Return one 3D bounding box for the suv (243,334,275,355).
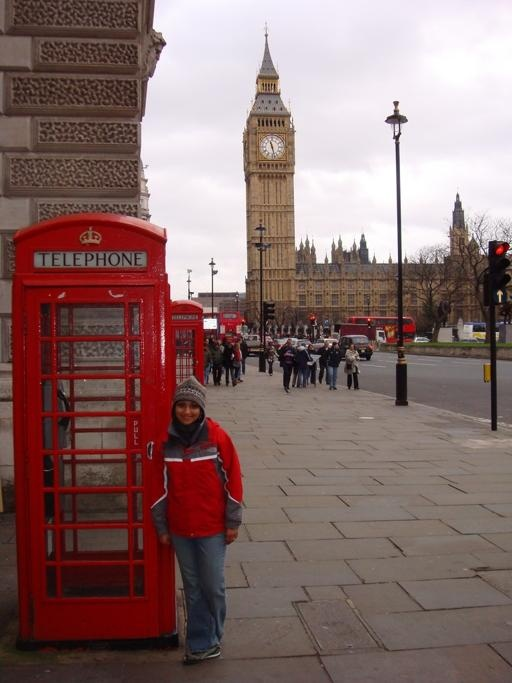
[{"bbox_3d":[0.056,0.159,43.116,1.078,0.903,2.265,0,7,1],"label":"suv"}]

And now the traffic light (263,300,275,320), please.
[{"bbox_3d":[0.477,-1.149,31.037,0.333,0.623,0.915,-2,1,-5],"label":"traffic light"}]

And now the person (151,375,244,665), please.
[{"bbox_3d":[-0.313,0.910,4.391,0.472,1.383,0.306,-2,0,-3],"label":"person"}]

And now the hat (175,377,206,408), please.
[{"bbox_3d":[-0.340,0.252,4.409,0.145,0.163,0.161,7,-16,-3],"label":"hat"}]

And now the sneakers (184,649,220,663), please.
[{"bbox_3d":[-0.275,1.600,4.325,0.186,0.087,0.069,5,-5,-27],"label":"sneakers"}]
